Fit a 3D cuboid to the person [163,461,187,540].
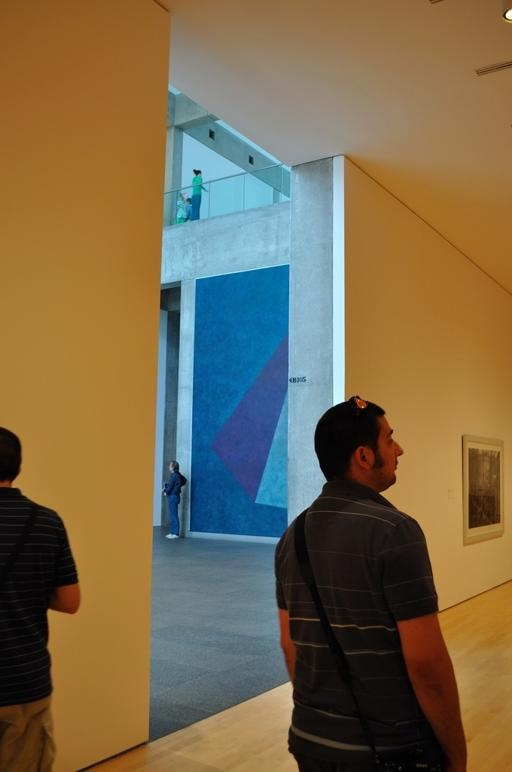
[{"bbox_3d":[-1.750,2.436,13.966,0.417,1.632,0.734,4,-7,-2],"label":"person"}]
